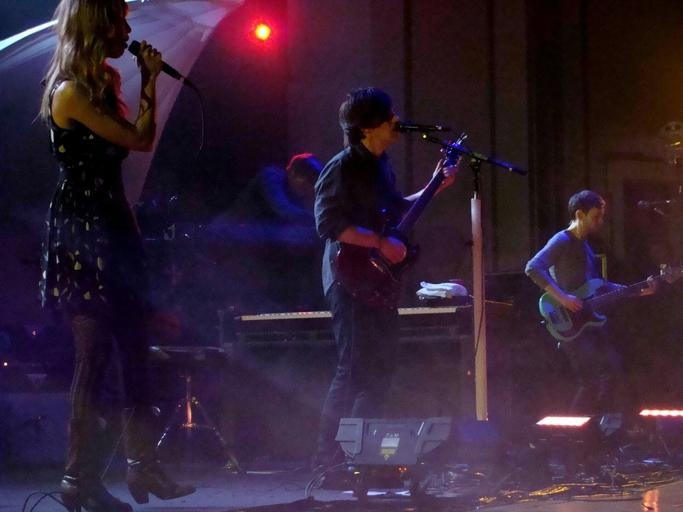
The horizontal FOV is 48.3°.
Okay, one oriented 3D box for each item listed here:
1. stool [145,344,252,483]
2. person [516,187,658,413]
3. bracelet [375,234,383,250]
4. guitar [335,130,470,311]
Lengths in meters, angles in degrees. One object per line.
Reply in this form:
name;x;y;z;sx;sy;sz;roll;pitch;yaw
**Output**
stool;-0.967;0.977;5.033;0.686;0.983;0.715;0;-2;-7
person;1.774;0.305;5.786;0.684;1.653;0.701;-2;-2;27
bracelet;0.188;-0.079;3.851;0.013;0.061;0.041;7;11;-13
guitar;0.299;-0.204;4.079;0.695;0.926;0.293;1;-3;-31
